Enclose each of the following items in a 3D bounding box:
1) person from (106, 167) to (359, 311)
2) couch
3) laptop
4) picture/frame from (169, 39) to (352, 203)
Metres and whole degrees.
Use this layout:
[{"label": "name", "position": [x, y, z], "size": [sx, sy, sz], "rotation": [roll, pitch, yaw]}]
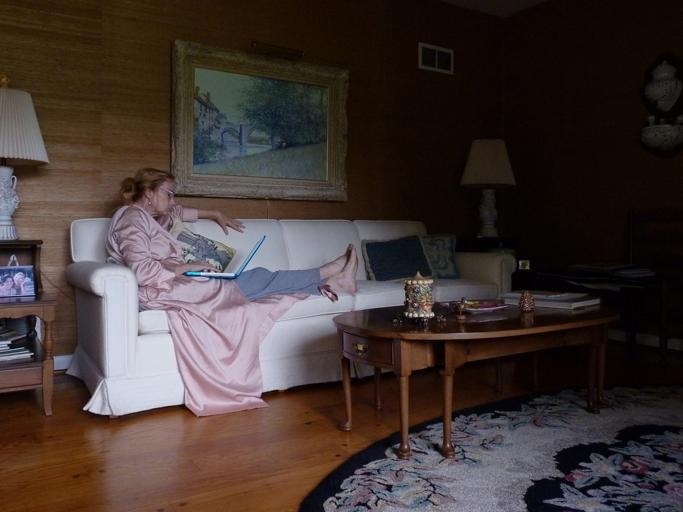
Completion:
[{"label": "person", "position": [-0.663, -0.085, 3.583], "size": [1.560, 0.752, 0.715], "rotation": [3, 1, -20]}, {"label": "couch", "position": [-0.256, 0.232, 3.896], "size": [2.958, 0.940, 0.979], "rotation": [-4, 8, -33]}, {"label": "laptop", "position": [-0.715, -0.017, 3.374], "size": [0.501, 0.223, 0.505], "rotation": [-10, 15, -34]}, {"label": "picture/frame", "position": [-0.676, -1.038, 4.247], "size": [1.635, 1.102, 0.118], "rotation": [1, 5, -32]}]
